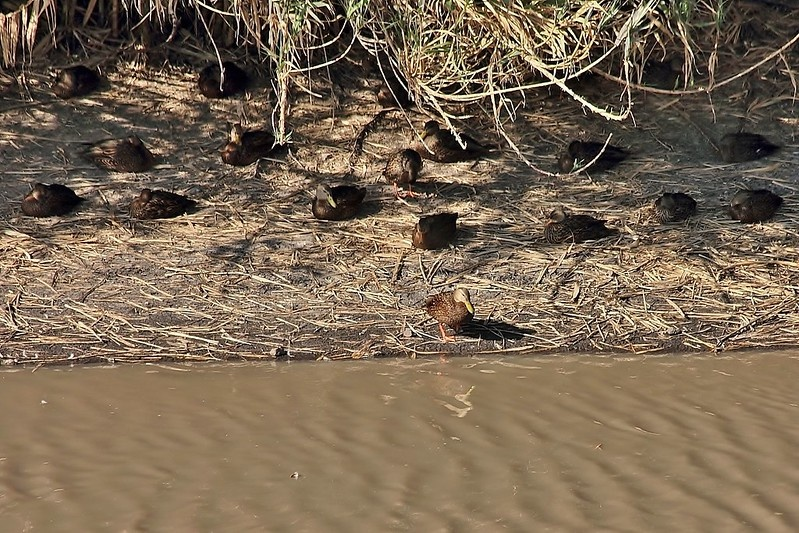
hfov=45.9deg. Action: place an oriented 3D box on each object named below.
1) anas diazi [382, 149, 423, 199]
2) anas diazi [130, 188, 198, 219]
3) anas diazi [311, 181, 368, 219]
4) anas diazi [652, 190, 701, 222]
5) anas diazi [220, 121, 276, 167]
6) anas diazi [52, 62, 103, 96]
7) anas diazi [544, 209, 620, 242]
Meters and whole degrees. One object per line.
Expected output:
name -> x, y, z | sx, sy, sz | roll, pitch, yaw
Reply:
anas diazi -> 0.039, -1.200, 12.396 | 0.489, 0.606, 0.505 | 10, 25, -2
anas diazi -> -2.937, -0.764, 11.807 | 0.809, 0.377, 0.275 | 0, 28, -18
anas diazi -> -0.789, -0.815, 11.886 | 0.774, 0.359, 0.377 | -13, 44, -12
anas diazi -> 3.417, -0.719, 11.726 | 0.621, 0.202, 0.366 | -3, 4, 15
anas diazi -> -2.015, -1.611, 12.722 | 0.480, 0.547, 0.564 | 19, 26, 18
anas diazi -> -4.374, -2.632, 13.413 | 0.731, 0.212, 0.765 | -10, -2, -3
anas diazi -> 2.122, -0.512, 11.666 | 1.049, 0.405, 0.479 | -15, 29, -33
